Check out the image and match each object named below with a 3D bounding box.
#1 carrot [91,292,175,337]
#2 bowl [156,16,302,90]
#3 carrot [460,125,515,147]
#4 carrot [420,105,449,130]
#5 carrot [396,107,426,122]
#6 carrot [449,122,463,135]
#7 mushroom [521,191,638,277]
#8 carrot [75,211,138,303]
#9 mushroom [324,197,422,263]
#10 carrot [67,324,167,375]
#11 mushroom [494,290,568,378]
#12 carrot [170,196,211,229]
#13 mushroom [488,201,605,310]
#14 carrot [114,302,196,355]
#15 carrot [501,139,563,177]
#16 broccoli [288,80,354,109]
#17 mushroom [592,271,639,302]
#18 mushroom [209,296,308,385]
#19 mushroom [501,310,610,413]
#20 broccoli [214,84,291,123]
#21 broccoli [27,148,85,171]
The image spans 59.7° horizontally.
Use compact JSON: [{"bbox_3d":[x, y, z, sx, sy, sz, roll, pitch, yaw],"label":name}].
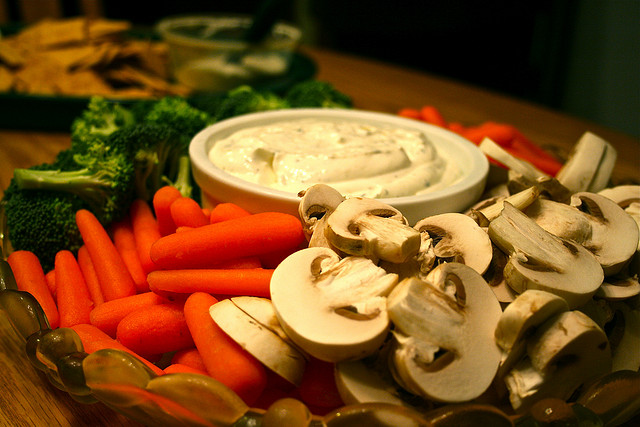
[{"bbox_3d":[-0.771,0.394,2.404,0.378,0.146,0.159,-11,22,-19],"label":"carrot"},{"bbox_3d":[-0.702,-1.068,3.767,0.717,0.274,0.701,1,21,0],"label":"bowl"},{"bbox_3d":[0.953,-0.432,3.152,0.200,0.071,0.188,-5,8,-15],"label":"carrot"},{"bbox_3d":[0.710,-0.599,3.528,0.107,0.099,0.245,6,29,-38],"label":"carrot"},{"bbox_3d":[0.578,-0.618,3.545,0.167,0.090,0.125,3,6,-41],"label":"carrot"},{"bbox_3d":[0.843,-0.515,3.449,0.078,0.076,0.076,1,37,8],"label":"carrot"},{"bbox_3d":[1.147,0.065,2.360,0.388,0.108,0.378,2,47,4],"label":"mushroom"},{"bbox_3d":[-1.012,0.186,2.569,0.151,0.154,0.507,-32,73,-9],"label":"carrot"},{"bbox_3d":[0.195,0.066,2.210,0.395,0.102,0.306,28,41,36],"label":"mushroom"},{"bbox_3d":[-0.766,0.511,2.094,0.217,0.051,0.065,29,1,3],"label":"carrot"},{"bbox_3d":[0.708,0.397,1.962,0.271,0.293,0.069,-36,61,-17],"label":"mushroom"},{"bbox_3d":[-0.578,0.000,2.532,0.094,0.203,0.098,-39,12,2],"label":"carrot"},{"bbox_3d":[0.831,0.196,2.202,0.448,0.095,0.294,37,50,18],"label":"mushroom"},{"bbox_3d":[-0.690,0.476,2.320,0.342,0.175,0.158,-14,13,22],"label":"carrot"},{"bbox_3d":[1.126,-0.287,2.979,0.332,0.090,0.091,36,64,29],"label":"carrot"},{"bbox_3d":[-0.012,-0.724,3.462,0.280,0.124,0.235,11,20,20],"label":"broccoli"},{"bbox_3d":[1.189,0.296,2.236,0.134,0.049,0.143,-14,0,31],"label":"mushroom"},{"bbox_3d":[-0.203,0.465,2.140,0.320,0.134,0.338,46,7,7],"label":"mushroom"},{"bbox_3d":[0.800,0.515,2.091,0.406,0.300,0.146,-29,16,8],"label":"mushroom"},{"bbox_3d":[-0.434,-0.656,3.338,0.300,0.141,0.306,3,16,17],"label":"broccoli"},{"bbox_3d":[-1.308,-0.257,2.789,0.202,0.065,0.160,-8,27,36],"label":"broccoli"}]
